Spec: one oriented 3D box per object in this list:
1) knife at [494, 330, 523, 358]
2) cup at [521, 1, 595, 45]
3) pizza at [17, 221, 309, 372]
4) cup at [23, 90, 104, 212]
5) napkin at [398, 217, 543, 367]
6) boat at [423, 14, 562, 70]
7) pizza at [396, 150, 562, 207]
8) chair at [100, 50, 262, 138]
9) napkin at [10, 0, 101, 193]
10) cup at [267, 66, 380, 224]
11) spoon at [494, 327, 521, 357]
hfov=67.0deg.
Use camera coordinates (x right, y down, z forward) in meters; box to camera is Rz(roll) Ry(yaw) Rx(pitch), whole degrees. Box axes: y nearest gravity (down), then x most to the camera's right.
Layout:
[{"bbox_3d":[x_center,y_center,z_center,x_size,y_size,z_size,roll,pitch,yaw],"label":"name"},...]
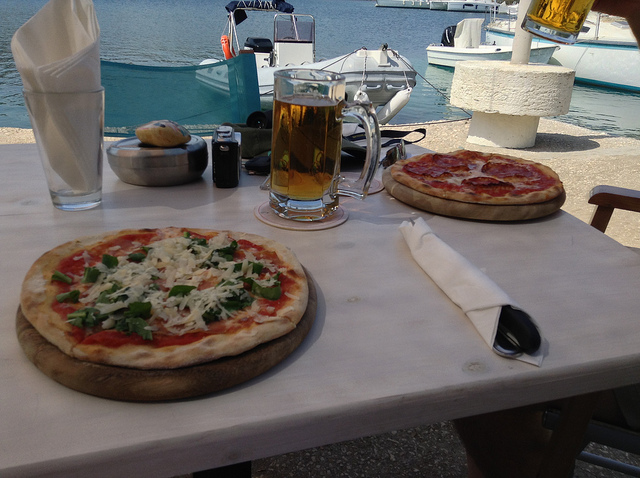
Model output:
[{"bbox_3d":[0.338,0.189,0.869,0.029,0.009,0.046,-3,27,-10],"label":"knife"},{"bbox_3d":[0.560,-0.520,1.152,0.135,0.092,0.180,14,31,20],"label":"cup"},{"bbox_3d":[-0.278,0.072,0.948,0.575,0.059,0.400,4,35,2],"label":"pizza"},{"bbox_3d":[-0.651,-0.234,1.251,0.208,0.336,0.190,4,20,-1],"label":"cup"},{"bbox_3d":[0.278,0.080,0.993,0.110,0.062,0.399,-28,31,-5],"label":"napkin"},{"bbox_3d":[7.238,-8.094,19.962,3.213,1.947,5.520,-23,33,-31],"label":"boat"},{"bbox_3d":[0.483,-0.189,1.522,0.660,0.166,0.483,-2,10,-13],"label":"pizza"},{"bbox_3d":[-0.882,-0.888,2.986,1.039,0.421,0.929,-6,21,-14],"label":"chair"},{"bbox_3d":[-0.676,-0.385,1.301,0.201,0.465,0.302,-8,34,-15],"label":"napkin"},{"bbox_3d":[0.050,-0.241,1.276,0.223,0.343,0.370,-11,21,-38],"label":"cup"},{"bbox_3d":[0.336,0.190,0.873,0.028,0.011,0.045,-31,70,-15],"label":"spoon"}]
